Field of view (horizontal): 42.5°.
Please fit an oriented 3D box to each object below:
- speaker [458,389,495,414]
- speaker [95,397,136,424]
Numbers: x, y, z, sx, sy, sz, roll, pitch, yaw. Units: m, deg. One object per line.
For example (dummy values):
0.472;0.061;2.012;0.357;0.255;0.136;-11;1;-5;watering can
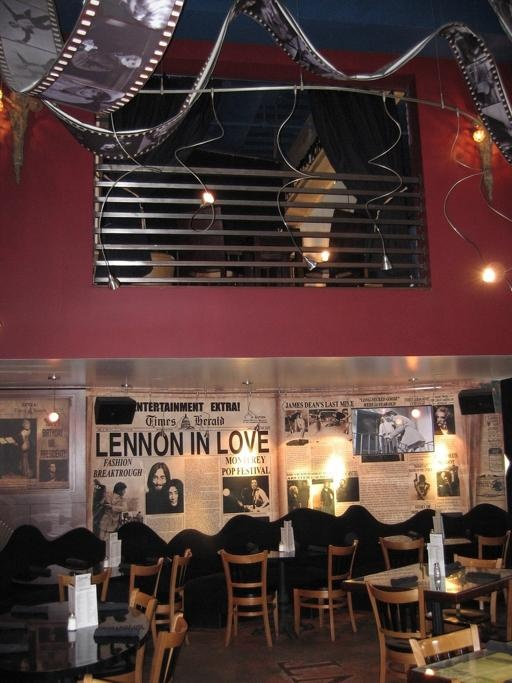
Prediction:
2.596;0.702;7.760;0.389;0.273;0.398;-5;-9;18;speaker
-1.479;0.759;6.901;0.517;0.324;0.266;2;15;-17;speaker
